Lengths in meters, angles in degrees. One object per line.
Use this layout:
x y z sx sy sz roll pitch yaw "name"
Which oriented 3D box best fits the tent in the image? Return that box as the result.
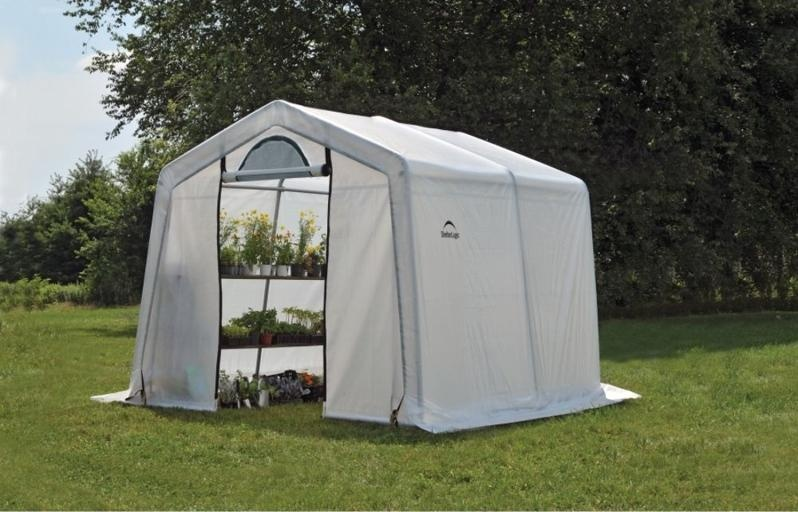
-0.100 0.515 17.553 7.256 5.028 6.732 -4 -7 44 "tent"
